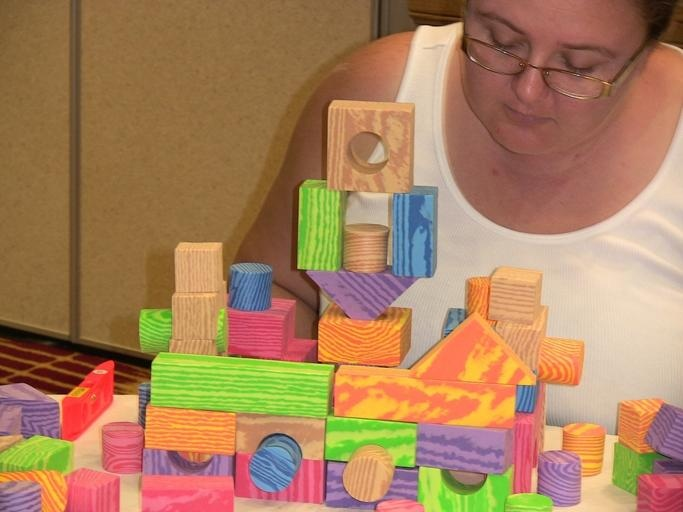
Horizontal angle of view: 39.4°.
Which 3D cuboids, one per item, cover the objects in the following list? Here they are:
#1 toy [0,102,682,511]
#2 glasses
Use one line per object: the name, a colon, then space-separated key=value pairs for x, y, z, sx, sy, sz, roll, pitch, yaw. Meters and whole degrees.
toy: x=-0.007 y=0.042 z=1.749 sx=0.758 sy=0.676 sz=0.597 roll=-1 pitch=8 yaw=3
glasses: x=0.376 y=-0.336 z=1.681 sx=0.325 sy=0.108 sz=0.079 roll=7 pitch=25 yaw=7
